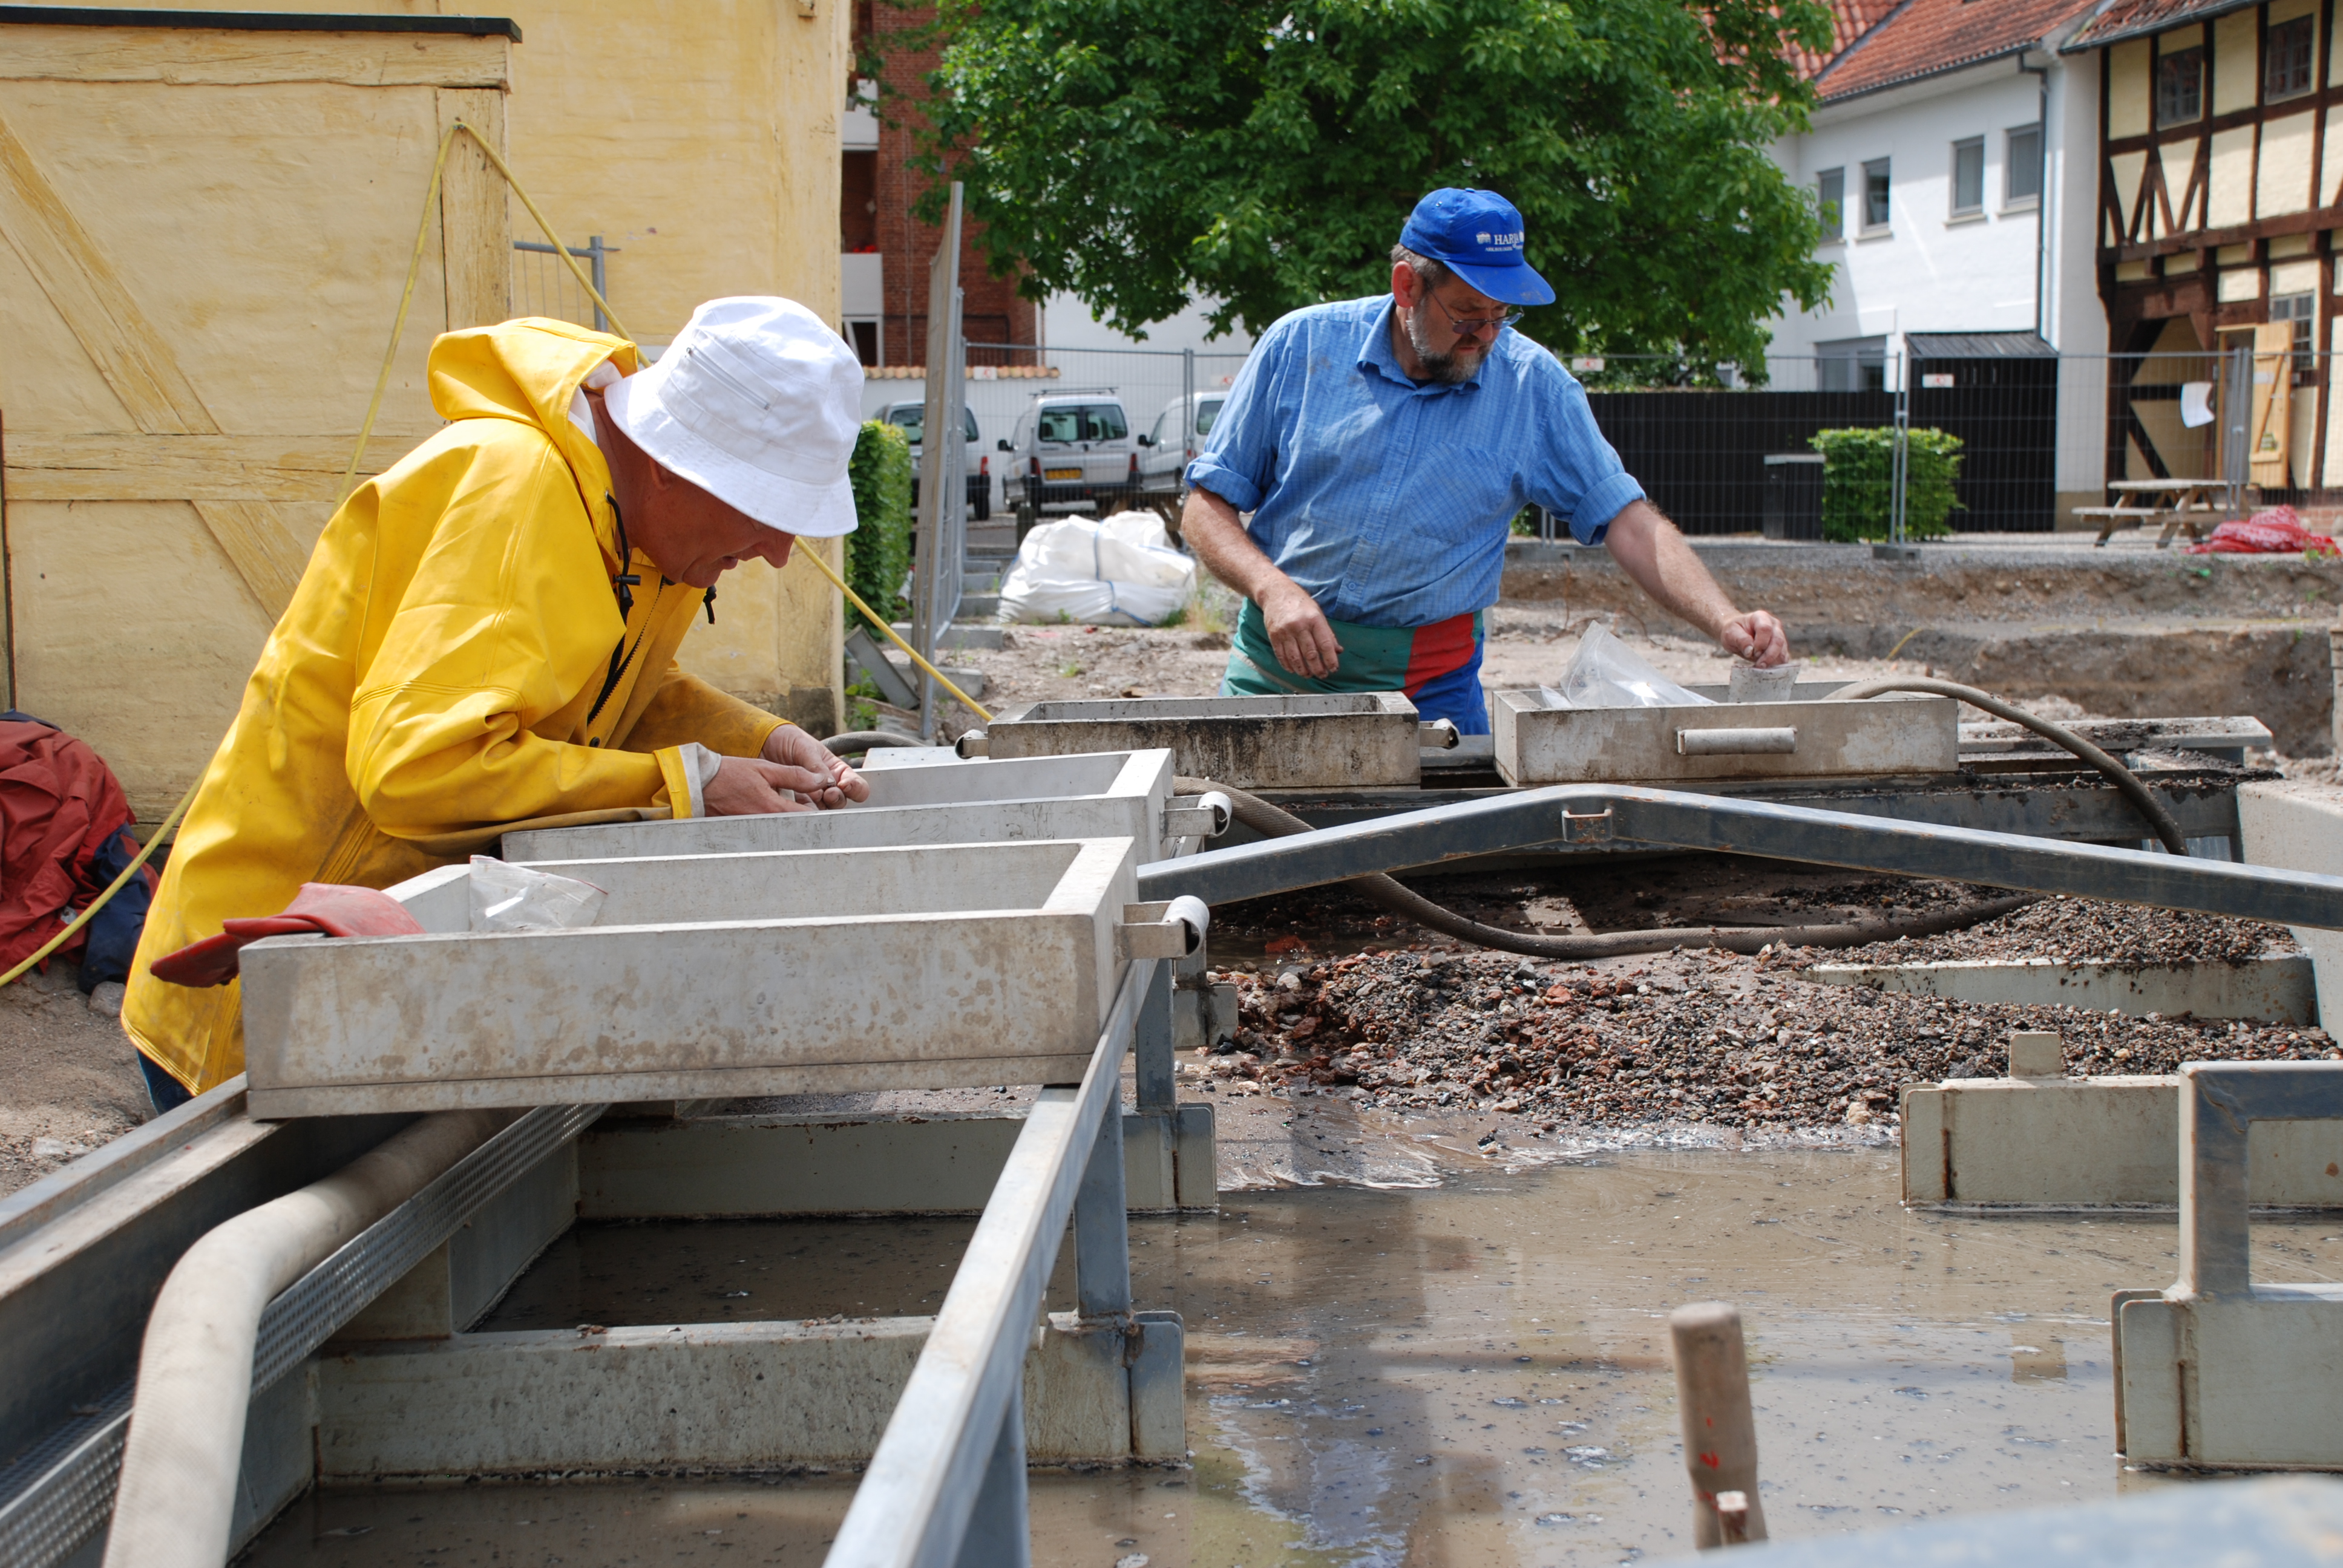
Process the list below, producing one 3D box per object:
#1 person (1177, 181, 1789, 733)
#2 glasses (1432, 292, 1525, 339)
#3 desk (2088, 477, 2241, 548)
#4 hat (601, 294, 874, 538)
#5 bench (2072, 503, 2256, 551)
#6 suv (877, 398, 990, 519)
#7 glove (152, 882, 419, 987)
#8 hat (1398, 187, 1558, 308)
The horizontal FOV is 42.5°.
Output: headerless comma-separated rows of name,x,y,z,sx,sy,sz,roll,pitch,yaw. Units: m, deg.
person,0.763,-0.962,9.281,1.457,1.700,0.694,-3,14,-1
glasses,0.879,-1.410,9.021,0.155,0.045,0.147,28,9,40
desk,9.446,-2.555,28.519,1.716,0.566,1.022,-12,16,-32
hat,-0.926,-0.832,6.822,0.567,0.308,0.514,32,18,-7
bench,9.203,-2.370,27.775,1.390,0.418,0.825,-12,15,-31
suv,-2.512,-3.454,33.168,1.568,1.397,3.308,-2,13,-5
glove,-1.886,0.301,6.352,0.309,0.106,0.305,-8,4,11
hat,0.901,-1.599,9.055,0.440,0.370,0.536,-1,14,4
